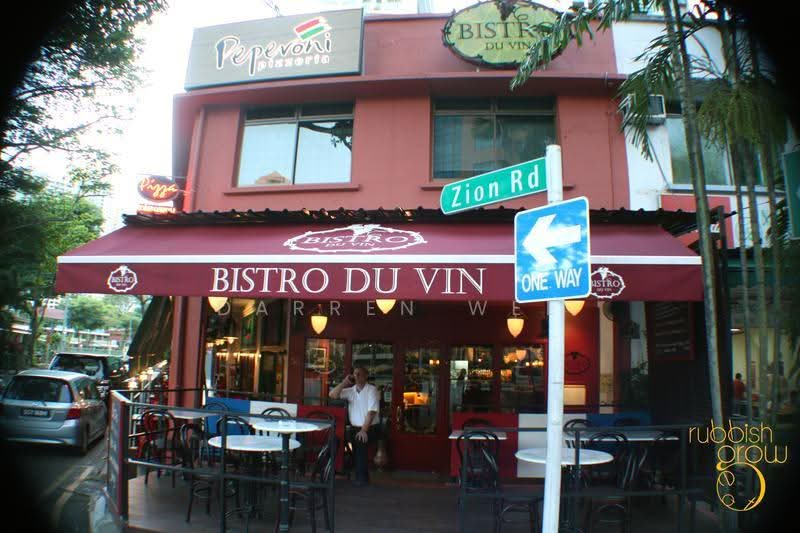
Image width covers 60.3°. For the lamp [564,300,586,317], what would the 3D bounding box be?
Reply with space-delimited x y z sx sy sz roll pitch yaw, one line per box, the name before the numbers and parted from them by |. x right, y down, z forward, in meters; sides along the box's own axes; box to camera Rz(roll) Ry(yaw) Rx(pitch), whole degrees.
lamp | 3.798 0.869 15.024 0.472 0.372 0.469 1 -13 3

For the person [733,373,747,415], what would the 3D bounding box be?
person | 7.488 2.775 15.256 0.237 0.890 1.134 -4 -11 25

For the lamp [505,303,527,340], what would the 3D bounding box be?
lamp | 2.677 1.241 16.066 0.417 0.761 0.483 0 -10 8

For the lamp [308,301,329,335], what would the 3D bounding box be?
lamp | -1.958 1.230 16.521 0.440 0.721 0.542 2 -10 -6

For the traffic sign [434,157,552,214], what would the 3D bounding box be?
traffic sign | 1.592 -1.373 11.934 1.798 0.598 0.253 -8 -8 27
